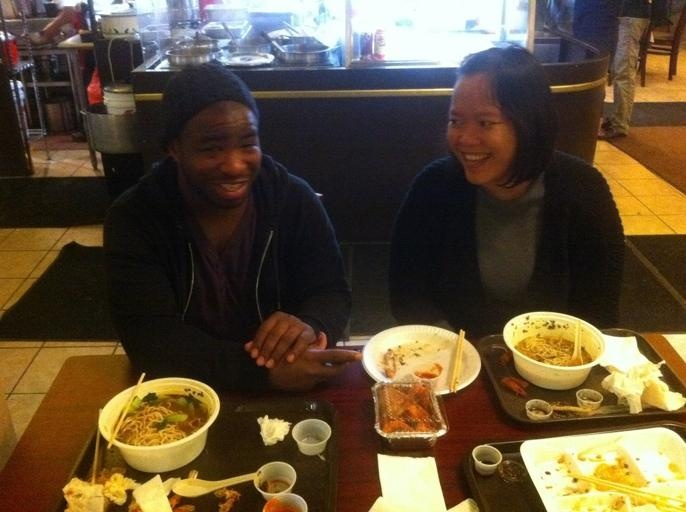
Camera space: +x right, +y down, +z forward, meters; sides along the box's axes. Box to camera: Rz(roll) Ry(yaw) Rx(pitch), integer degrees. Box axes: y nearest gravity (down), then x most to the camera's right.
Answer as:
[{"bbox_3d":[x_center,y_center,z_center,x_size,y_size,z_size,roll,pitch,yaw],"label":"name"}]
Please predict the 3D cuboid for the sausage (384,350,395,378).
[{"bbox_3d":[0.186,0.416,2.113,0.059,0.018,0.161,5,24,2],"label":"sausage"}]

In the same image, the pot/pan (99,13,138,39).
[{"bbox_3d":[-2.186,-2.260,5.334,0.319,0.142,0.311,10,21,26],"label":"pot/pan"}]

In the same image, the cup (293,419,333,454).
[{"bbox_3d":[-0.100,0.595,1.798,0.132,0.061,0.110,-4,27,-2],"label":"cup"}]

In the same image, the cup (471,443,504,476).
[{"bbox_3d":[0.468,0.641,1.724,0.110,0.051,0.089,-5,27,-5],"label":"cup"}]

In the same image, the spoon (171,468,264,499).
[{"bbox_3d":[-0.390,0.700,1.663,0.265,0.045,0.040,-4,28,-3],"label":"spoon"}]

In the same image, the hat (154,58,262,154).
[{"bbox_3d":[-0.562,-0.595,2.234,0.345,0.255,0.342,0,9,35],"label":"hat"}]

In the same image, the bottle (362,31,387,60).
[{"bbox_3d":[0.245,-1.701,4.366,0.204,0.220,0.133,-2,28,4],"label":"bottle"}]

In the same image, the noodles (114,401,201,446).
[{"bbox_3d":[-0.607,0.545,1.760,0.218,0.059,0.177,-6,24,-19],"label":"noodles"}]

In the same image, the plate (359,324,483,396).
[{"bbox_3d":[0.291,0.385,2.161,0.499,0.201,0.344,-6,20,-21],"label":"plate"}]

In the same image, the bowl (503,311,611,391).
[{"bbox_3d":[0.796,0.334,2.052,0.321,0.110,0.302,-2,30,1],"label":"bowl"}]

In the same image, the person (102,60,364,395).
[{"bbox_3d":[-0.414,0.063,2.223,0.894,1.507,0.901,-7,30,-24],"label":"person"}]

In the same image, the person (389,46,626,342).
[{"bbox_3d":[0.770,-0.273,2.561,1.109,1.330,0.439,0,29,6],"label":"person"}]

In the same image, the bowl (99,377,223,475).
[{"bbox_3d":[-0.585,0.541,1.779,0.371,0.200,0.265,-6,27,-5],"label":"bowl"}]
